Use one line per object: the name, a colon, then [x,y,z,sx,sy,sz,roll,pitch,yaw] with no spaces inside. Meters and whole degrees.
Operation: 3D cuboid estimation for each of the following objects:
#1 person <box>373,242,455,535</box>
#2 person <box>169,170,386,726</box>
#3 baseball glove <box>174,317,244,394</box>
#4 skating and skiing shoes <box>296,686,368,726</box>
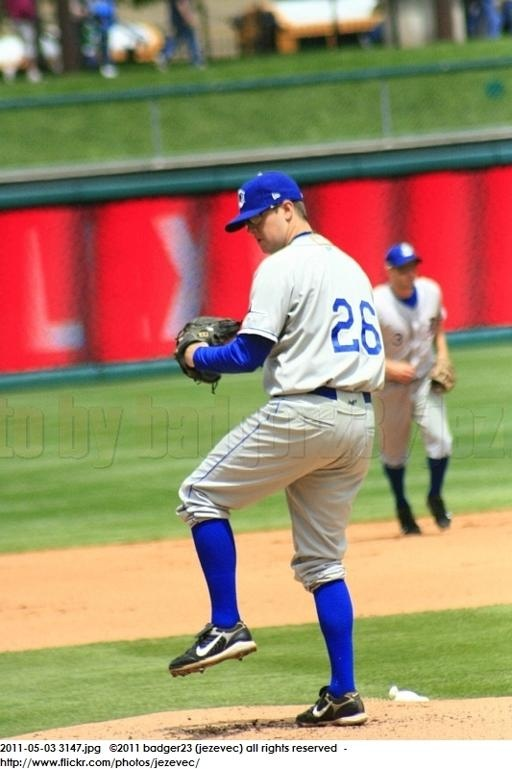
person: [0.828,0.016,7.991,0.404,1.548,0.370,-7,18,-18]
person: [0.101,0.257,6.174,0.892,2.226,0.564,-6,8,4]
baseball glove: [-0.216,-0.147,6.368,0.248,0.319,0.297,-17,3,33]
skating and skiing shoes: [0.318,1.306,6.188,0.317,0.144,0.115,-6,-25,16]
